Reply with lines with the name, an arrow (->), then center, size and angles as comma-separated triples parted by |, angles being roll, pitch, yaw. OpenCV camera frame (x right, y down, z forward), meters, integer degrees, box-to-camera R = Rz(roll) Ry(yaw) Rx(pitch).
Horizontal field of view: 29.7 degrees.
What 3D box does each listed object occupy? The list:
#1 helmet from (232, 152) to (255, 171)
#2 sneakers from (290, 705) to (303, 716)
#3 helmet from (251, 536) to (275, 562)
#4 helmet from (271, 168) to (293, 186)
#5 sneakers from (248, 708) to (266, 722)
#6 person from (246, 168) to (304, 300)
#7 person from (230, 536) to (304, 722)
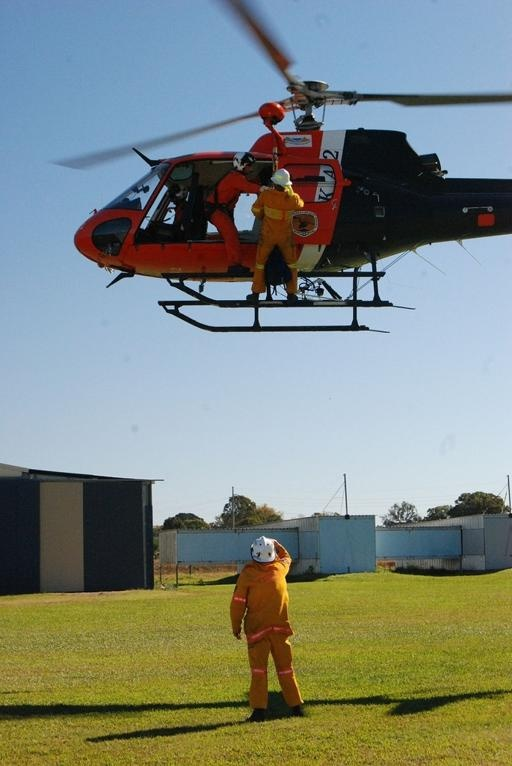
helmet -> -0.175, -2.860, 12.507 | 0.275, 0.241, 0.264 | -2, -8, 5
sneakers -> 0.371, 2.990, 8.862 | 0.142, 0.118, 0.063 | 2, -9, 7
helmet -> 0.056, 1.588, 9.154 | 0.186, 0.190, 0.232 | 1, -24, -1
helmet -> 0.297, -2.587, 12.221 | 0.230, 0.234, 0.234 | -1, -8, -2
sneakers -> 0.002, 2.978, 8.785 | 0.153, 0.129, 0.368 | -2, -8, 2
person -> 0.260, -2.027, 12.712 | 0.741, 1.699, 1.372 | -2, -8, 1
person -> 0.073, 2.241, 8.876 | 0.613, 1.593, 0.497 | 0, -8, -9
